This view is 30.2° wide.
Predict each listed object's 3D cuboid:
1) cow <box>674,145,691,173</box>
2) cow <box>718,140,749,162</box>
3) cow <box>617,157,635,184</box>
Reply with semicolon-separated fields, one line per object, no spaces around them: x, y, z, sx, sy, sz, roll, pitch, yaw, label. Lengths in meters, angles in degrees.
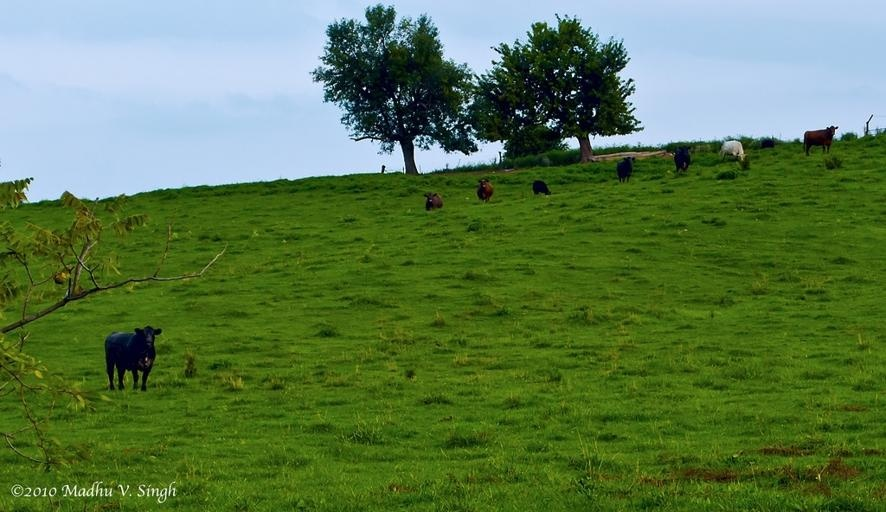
14.858;-5.951;101.293;0.915;1.754;1.682;-5;-5;6;cow
18.307;-6.555;102.371;1.107;1.455;1.850;-2;-5;-26;cow
11.299;-5.262;101.140;0.877;1.554;1.161;-5;-5;3;cow
